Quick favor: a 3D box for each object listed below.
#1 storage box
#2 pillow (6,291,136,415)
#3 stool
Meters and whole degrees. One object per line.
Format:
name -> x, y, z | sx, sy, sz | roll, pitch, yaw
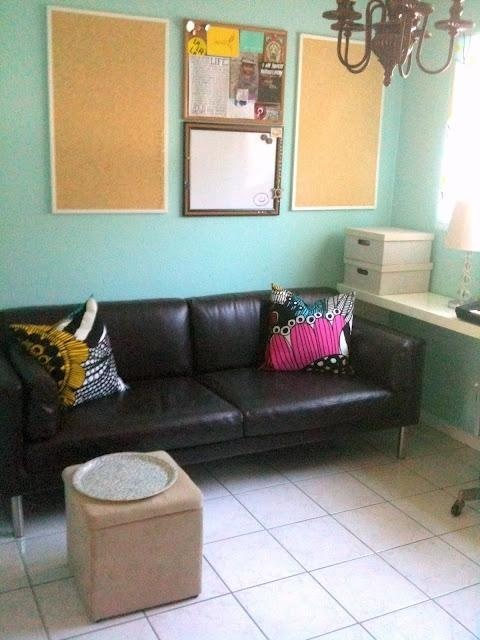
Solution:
storage box -> 0.861, -0.364, 2.995 | 0.418, 0.351, 0.409 | -5, 14, -29
pillow -> -0.655, 0.122, 2.035 | 0.443, 0.384, 0.264 | -2, 10, -24
stool -> -0.293, 0.558, 1.557 | 0.389, 0.395, 0.378 | -4, 13, -27
